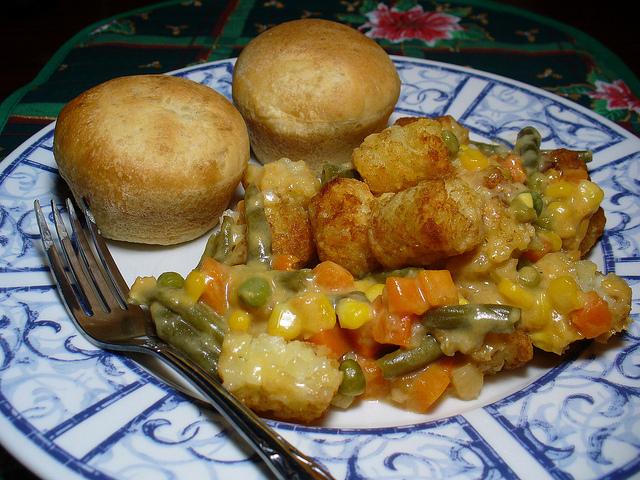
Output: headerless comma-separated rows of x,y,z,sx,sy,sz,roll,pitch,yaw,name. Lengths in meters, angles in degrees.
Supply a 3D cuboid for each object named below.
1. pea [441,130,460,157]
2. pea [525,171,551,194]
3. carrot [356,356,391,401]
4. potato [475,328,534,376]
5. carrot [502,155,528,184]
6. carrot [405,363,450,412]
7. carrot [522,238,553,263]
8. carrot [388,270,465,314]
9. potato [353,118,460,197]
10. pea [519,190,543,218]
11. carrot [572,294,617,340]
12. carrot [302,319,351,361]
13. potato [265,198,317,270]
0.769,-0.568,3.828,0.145,0.095,0.084,58,33,4,pea
1.284,-0.326,3.839,0.140,0.077,0.121,-16,62,-8,pea
0.281,0.725,3.338,0.204,0.054,0.194,11,100,-9,carrot
0.988,0.584,3.467,0.303,0.374,0.147,-14,95,-51,potato
1.189,-0.428,3.901,0.137,0.067,0.178,53,41,0,carrot
0.548,0.751,3.356,0.152,0.103,0.263,45,66,6,carrot
1.201,0.064,3.580,0.139,0.041,0.138,-46,56,-7,carrot
0.514,0.265,3.295,0.359,0.100,0.194,-10,67,-9,carrot
0.496,-0.474,3.662,0.518,0.187,0.426,-15,67,7,potato
1.186,-0.191,3.633,0.137,0.077,0.110,50,53,-7,pea
1.410,0.401,3.358,0.244,0.089,0.186,-46,75,5,carrot
0.050,0.508,3.357,0.189,0.188,0.192,25,88,12,carrot
-0.190,-0.047,3.802,0.385,0.115,0.376,14,64,-41,potato
